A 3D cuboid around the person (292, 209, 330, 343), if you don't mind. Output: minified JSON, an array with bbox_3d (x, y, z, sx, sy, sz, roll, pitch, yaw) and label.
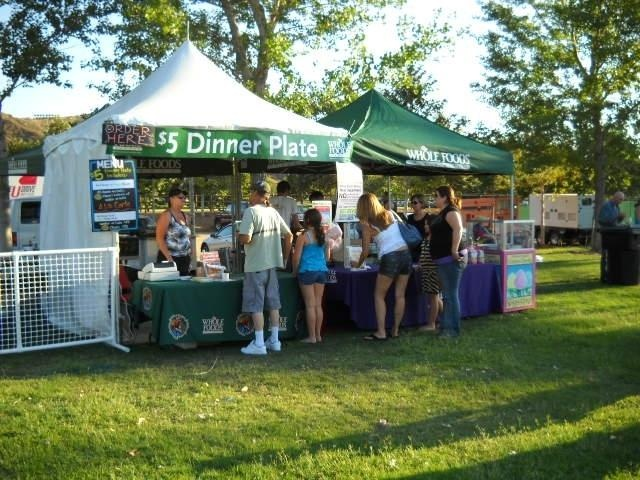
[{"bbox_3d":[-0.152,0.548,10.530,0.486,2.030,0.299,-1,10,-4],"label":"person"}]

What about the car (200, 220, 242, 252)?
[{"bbox_3d":[-2.617,-0.039,19.896,0.998,0.880,2.211,-5,5,-34],"label":"car"}]

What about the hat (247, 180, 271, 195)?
[{"bbox_3d":[-0.874,-0.697,10.248,0.261,0.231,0.373,1,26,-25],"label":"hat"}]

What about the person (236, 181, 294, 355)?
[{"bbox_3d":[-0.786,0.399,10.128,0.527,2.387,0.790,4,11,21],"label":"person"}]

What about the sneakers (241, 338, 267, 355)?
[{"bbox_3d":[-0.924,1.528,10.109,0.392,0.228,0.165,1,-2,21],"label":"sneakers"}]

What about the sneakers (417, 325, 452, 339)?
[{"bbox_3d":[1.826,1.458,11.155,0.158,0.253,0.531,-3,-8,-29],"label":"sneakers"}]

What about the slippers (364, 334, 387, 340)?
[{"bbox_3d":[0.857,1.506,10.855,0.299,0.105,0.132,3,-4,-4],"label":"slippers"}]

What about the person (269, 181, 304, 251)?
[{"bbox_3d":[-0.684,-0.381,12.524,0.594,1.539,0.356,10,35,4],"label":"person"}]

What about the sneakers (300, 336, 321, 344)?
[{"bbox_3d":[-0.134,1.491,10.664,0.285,0.147,0.112,-1,0,19],"label":"sneakers"}]

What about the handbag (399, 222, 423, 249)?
[{"bbox_3d":[1.391,-0.061,10.888,0.304,0.238,0.438,9,38,-56],"label":"handbag"}]
